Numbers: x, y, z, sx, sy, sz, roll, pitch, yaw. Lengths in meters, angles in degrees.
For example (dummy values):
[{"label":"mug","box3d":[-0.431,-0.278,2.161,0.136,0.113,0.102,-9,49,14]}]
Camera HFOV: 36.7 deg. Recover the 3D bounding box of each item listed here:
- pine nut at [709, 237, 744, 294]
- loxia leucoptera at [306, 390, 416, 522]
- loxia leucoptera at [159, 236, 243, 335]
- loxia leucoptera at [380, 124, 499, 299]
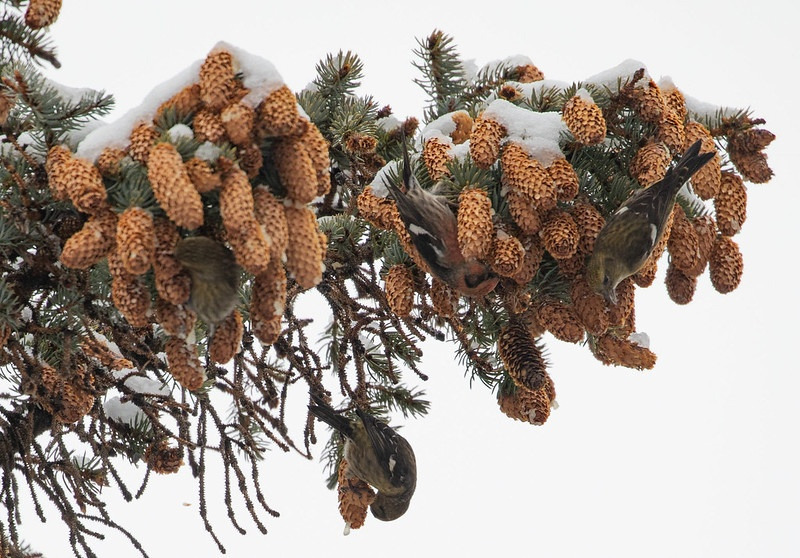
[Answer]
[{"label":"pine nut","box3d":[1.120,-0.046,4.164,0.095,0.181,0.082,-8,-19,44]},{"label":"loxia leucoptera","box3d":[-0.228,0.661,4.812,0.394,0.639,0.641,-2,-97,15]},{"label":"loxia leucoptera","box3d":[-0.640,-0.010,4.030,0.164,0.202,0.252,-22,-62,23]},{"label":"loxia leucoptera","box3d":[0.121,-0.178,4.215,0.155,0.181,0.605,-26,-64,25]}]
